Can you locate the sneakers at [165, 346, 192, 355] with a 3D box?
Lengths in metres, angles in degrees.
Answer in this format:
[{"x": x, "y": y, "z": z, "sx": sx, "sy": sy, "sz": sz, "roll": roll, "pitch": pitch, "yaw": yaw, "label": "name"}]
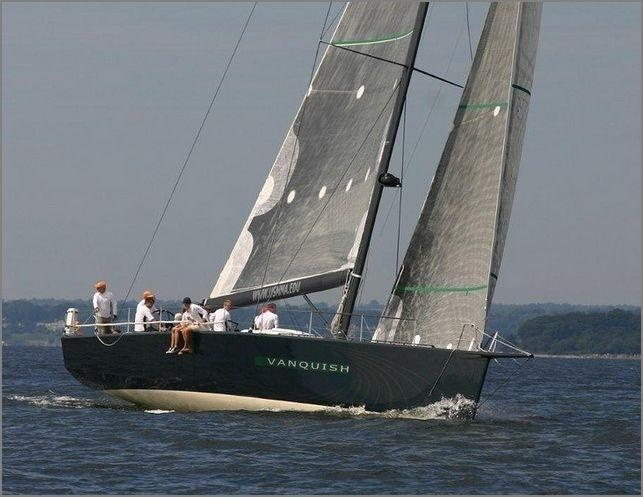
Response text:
[{"x": -2.594, "y": 1.862, "z": 26.483, "sx": 0.469, "sy": 0.158, "sz": 0.156, "roll": 1, "pitch": -7, "yaw": 9, "label": "sneakers"}]
